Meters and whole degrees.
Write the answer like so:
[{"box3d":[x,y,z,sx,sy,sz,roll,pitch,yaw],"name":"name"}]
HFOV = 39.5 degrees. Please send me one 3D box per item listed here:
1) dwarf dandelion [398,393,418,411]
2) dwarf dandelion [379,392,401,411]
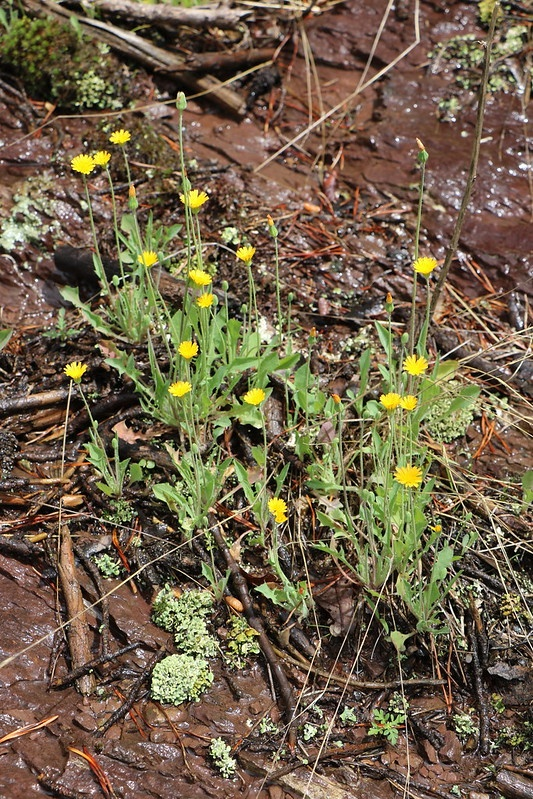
[{"box3d":[0.406,0.008,2.218,0.066,0.060,0.031,-1,-3,29],"name":"dwarf dandelion"},{"box3d":[0.367,0.012,2.200,0.059,0.025,0.057,-3,22,28],"name":"dwarf dandelion"}]
